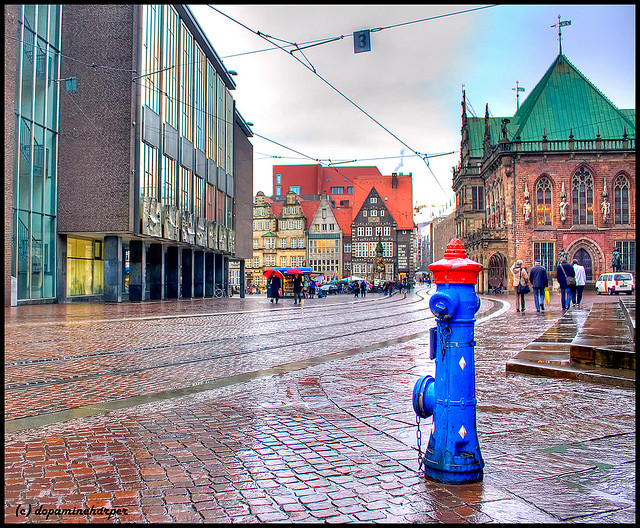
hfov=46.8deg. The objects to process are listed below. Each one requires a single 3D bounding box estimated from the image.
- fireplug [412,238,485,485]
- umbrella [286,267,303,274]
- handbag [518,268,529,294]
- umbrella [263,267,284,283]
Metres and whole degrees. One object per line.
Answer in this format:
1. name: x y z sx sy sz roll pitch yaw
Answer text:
1. fireplug: 1.137 0.813 6.410 0.506 2.041 0.601 0 1 11
2. umbrella: -1.649 0.426 45.553 0.575 0.297 2.684 -1 1 -10
3. handbag: 6.051 0.516 22.152 0.300 0.768 0.780 0 1 15
4. umbrella: -3.249 0.739 50.736 1.160 0.860 1.235 23 -30 -9
